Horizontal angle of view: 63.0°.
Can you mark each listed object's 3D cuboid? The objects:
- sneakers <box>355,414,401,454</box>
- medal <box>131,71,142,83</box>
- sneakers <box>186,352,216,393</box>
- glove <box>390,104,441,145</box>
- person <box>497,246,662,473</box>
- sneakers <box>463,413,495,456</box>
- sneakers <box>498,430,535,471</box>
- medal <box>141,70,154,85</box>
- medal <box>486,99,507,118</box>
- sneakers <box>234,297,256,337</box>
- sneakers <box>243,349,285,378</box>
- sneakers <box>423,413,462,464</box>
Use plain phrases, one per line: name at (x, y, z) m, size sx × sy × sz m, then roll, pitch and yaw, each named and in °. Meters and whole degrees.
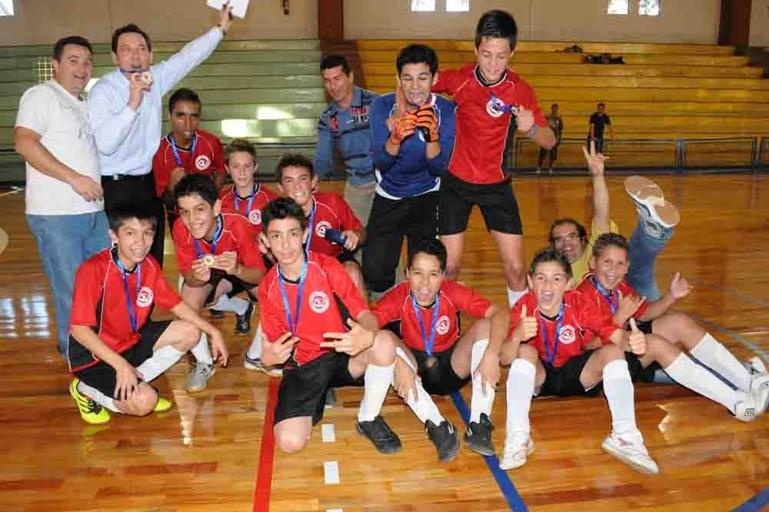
sneakers at (-0.041, 1.198, 4.308) m, size 0.324 × 0.136 × 0.166 m, roll 24°, pitch 38°, yaw 35°
medal at (-1.963, -1.413, 4.971) m, size 0.091 × 0.086 × 0.186 m, roll -8°, pitch 16°, yaw -19°
sneakers at (-1.465, 0.934, 4.998) m, size 0.151 × 0.151 × 0.360 m, roll 10°, pitch 25°, yaw 15°
glove at (0.236, -1.032, 4.985) m, size 0.369 × 0.303 × 0.373 m, roll -2°, pitch 16°, yaw 1°
person at (1.191, 0.655, 4.235) m, size 1.069 × 1.364 × 1.402 m, roll -2°, pitch 0°, yaw -6°
sneakers at (0.636, 1.188, 4.200) m, size 0.133 × 0.237 × 0.348 m, roll 9°, pitch -1°, yaw -24°
sneakers at (0.860, 1.246, 4.093) m, size 0.113 × 0.220 × 0.315 m, roll 0°, pitch 26°, yaw 47°
medal at (-1.881, -1.404, 4.961) m, size 0.103 × 0.100 × 0.037 m, roll -8°, pitch 1°, yaw -21°
medal at (0.936, -1.220, 5.197) m, size 0.177 × 0.153 × 0.044 m, roll 0°, pitch 16°, yaw 10°
sneakers at (-1.293, 0.572, 5.873) m, size 0.126 × 0.342 × 0.146 m, roll -7°, pitch -26°, yaw 38°
sneakers at (-0.942, 0.876, 5.072) m, size 0.460 × 0.194 × 0.180 m, roll 4°, pitch 6°, yaw 11°
sneakers at (0.395, 1.232, 4.198) m, size 0.190 × 0.240 × 0.220 m, roll -7°, pitch 16°, yaw -13°
